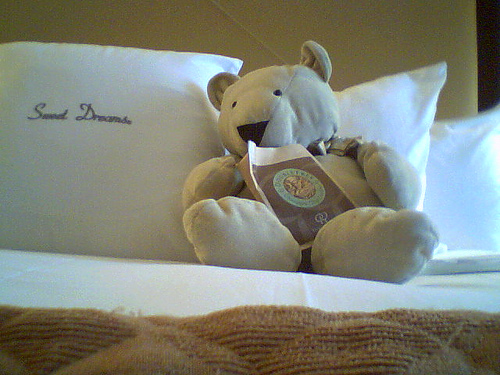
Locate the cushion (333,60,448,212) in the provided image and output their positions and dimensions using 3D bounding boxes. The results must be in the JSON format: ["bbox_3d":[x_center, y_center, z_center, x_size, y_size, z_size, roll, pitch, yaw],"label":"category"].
[{"bbox_3d":[0.421,-0.149,1.506,0.399,0.450,0.121,-6,0,-16],"label":"cushion"}]

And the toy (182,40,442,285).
[{"bbox_3d":[0.096,0.031,1.141,0.488,0.674,0.501,-7,-32,4],"label":"toy"}]

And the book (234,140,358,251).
[{"bbox_3d":[0.091,0.001,1.017,0.188,0.248,0.082,-30,-20,-28],"label":"book"}]
